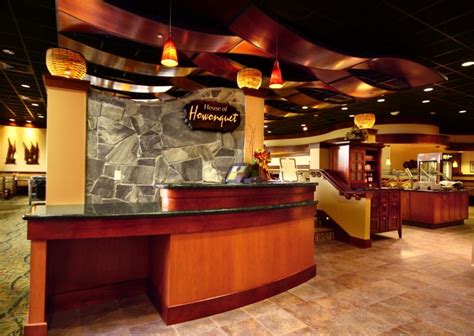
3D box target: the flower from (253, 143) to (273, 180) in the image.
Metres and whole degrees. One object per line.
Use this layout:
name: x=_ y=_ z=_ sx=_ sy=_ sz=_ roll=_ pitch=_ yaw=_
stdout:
flower: x=0.490 y=-0.078 z=6.062 sx=0.361 sy=0.616 sz=0.765 roll=3 pitch=14 yaw=6

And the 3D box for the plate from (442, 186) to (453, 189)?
plate: x=6.744 y=0.627 z=10.271 sx=0.215 sy=0.063 sz=0.203 roll=-1 pitch=-2 yaw=26

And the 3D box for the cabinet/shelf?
cabinet/shelf: x=3.486 y=0.568 z=8.602 sx=1.934 sy=2.630 sz=1.425 roll=-5 pitch=16 yaw=-23

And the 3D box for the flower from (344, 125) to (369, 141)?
flower: x=3.220 y=-0.913 z=8.501 sx=0.690 sy=0.367 sz=0.348 roll=-8 pitch=17 yaw=-36
